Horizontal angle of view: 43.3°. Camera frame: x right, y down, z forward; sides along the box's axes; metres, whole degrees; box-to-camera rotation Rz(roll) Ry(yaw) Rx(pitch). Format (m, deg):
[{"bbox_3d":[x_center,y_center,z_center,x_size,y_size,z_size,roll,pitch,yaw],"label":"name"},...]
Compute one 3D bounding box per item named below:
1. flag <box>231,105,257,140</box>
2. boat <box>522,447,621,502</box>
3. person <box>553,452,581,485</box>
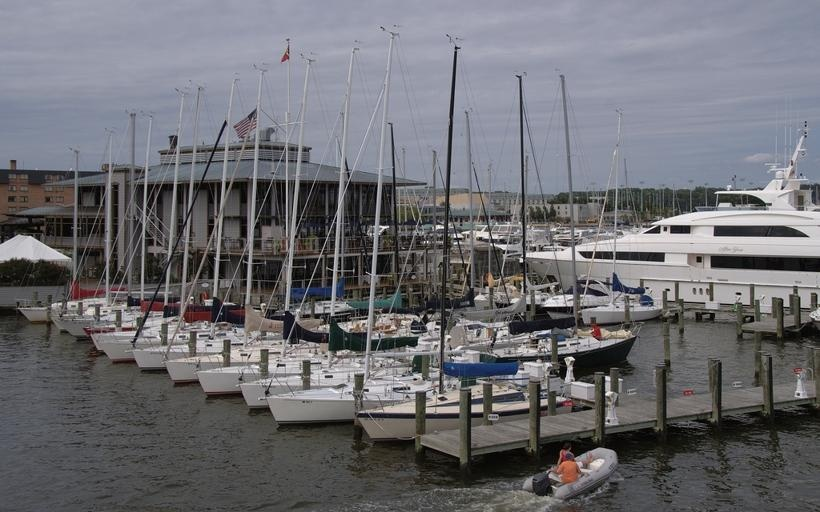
[{"bbox_3d":[-10.678,-8.755,68.458,2.024,1.522,0.607,-3,-2,43],"label":"flag"},{"bbox_3d":[7.968,10.633,50.310,3.922,1.429,2.167,-15,5,-31],"label":"boat"},{"bbox_3d":[7.868,10.169,50.499,1.200,1.364,1.646,-2,16,-4],"label":"person"}]
